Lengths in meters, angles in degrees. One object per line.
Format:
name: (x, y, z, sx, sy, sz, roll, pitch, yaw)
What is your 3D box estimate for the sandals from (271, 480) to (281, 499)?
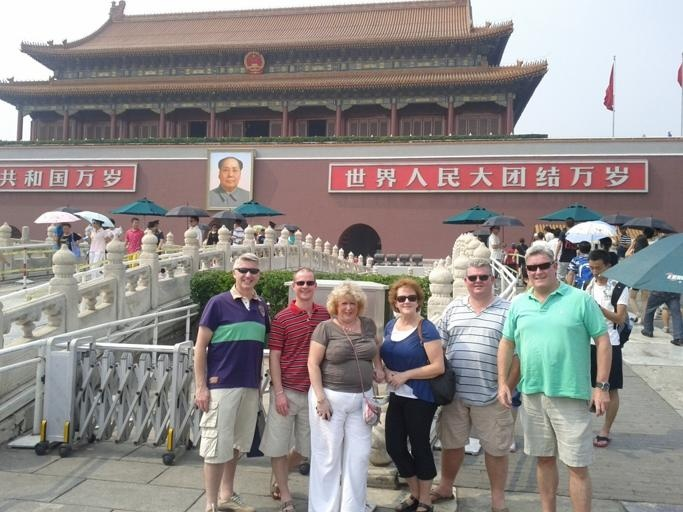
sandals: (-0.700, 2.542, 9.681, 0.170, 0.127, 0.443, 1, -8, 0)

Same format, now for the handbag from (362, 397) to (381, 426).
handbag: (0.309, 1.636, 9.381, 0.155, 0.334, 0.308, -4, -2, 32)

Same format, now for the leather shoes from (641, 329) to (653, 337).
leather shoes: (4.972, 1.258, 14.590, 0.078, 0.118, 0.168, -5, 15, -5)
